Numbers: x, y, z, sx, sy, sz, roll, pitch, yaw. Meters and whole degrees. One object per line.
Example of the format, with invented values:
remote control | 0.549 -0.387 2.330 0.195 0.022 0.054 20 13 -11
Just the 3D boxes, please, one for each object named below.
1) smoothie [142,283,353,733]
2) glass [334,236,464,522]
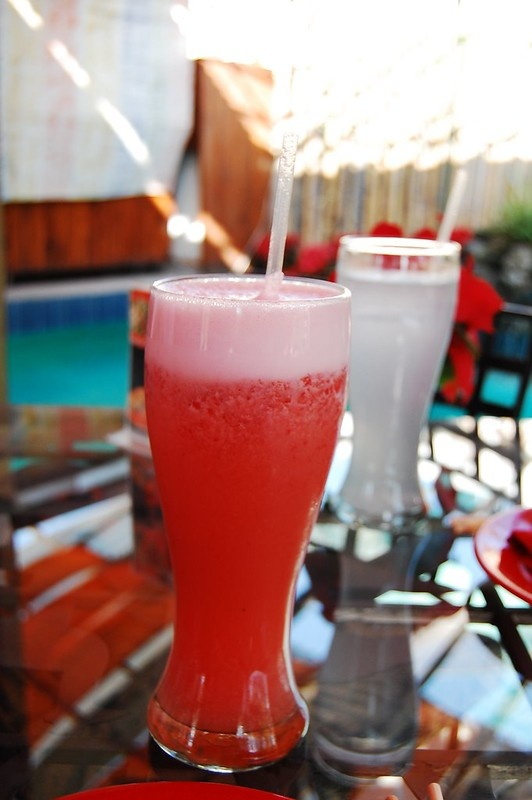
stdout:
smoothie | -0.013 0.055 0.349 0.094 0.216 0.064 3 17 -7
glass | 0.101 -0.018 0.612 0.110 0.238 0.095 9 17 13
